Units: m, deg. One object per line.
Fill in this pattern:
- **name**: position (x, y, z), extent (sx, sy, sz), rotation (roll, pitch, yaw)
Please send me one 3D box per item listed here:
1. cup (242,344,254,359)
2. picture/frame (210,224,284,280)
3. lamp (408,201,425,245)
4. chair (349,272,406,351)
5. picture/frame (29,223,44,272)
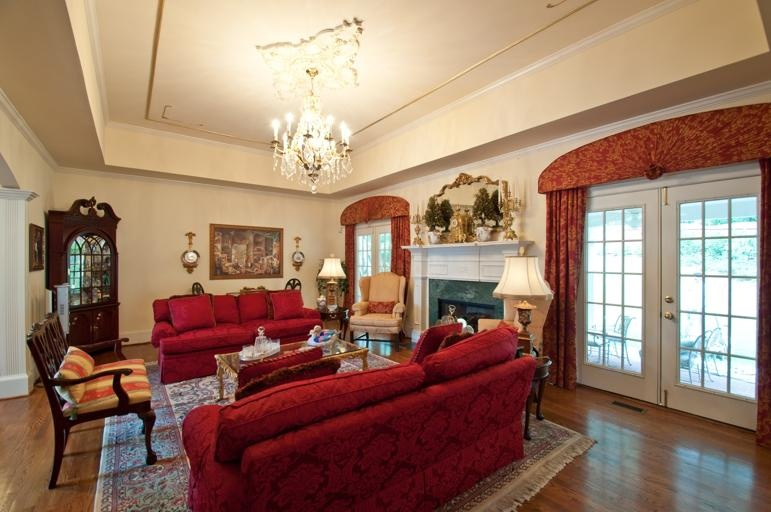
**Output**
- **cup**: position (-1.652, 1.160, 5.680), extent (0.137, 0.067, 0.189), rotation (2, -3, -21)
- **picture/frame**: position (-2.697, -0.078, 8.967), extent (1.141, 0.866, 0.050), rotation (-1, 4, -38)
- **lamp**: position (0.566, -0.520, 8.075), extent (0.246, 0.522, 0.455), rotation (-2, 1, 4)
- **chair**: position (-0.130, 0.903, 8.053), extent (0.974, 1.019, 0.861), rotation (-1, 1, 10)
- **picture/frame**: position (-4.724, -0.101, 6.374), extent (0.042, 0.624, 0.572), rotation (0, -1, -22)
